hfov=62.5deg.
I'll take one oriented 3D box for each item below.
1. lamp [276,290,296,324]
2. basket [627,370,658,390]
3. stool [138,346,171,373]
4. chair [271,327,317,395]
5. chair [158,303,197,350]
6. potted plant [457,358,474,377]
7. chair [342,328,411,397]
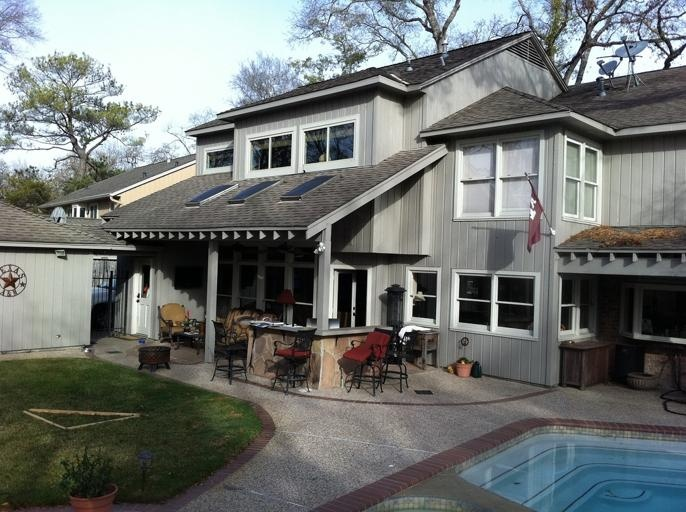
[{"bbox_3d":[-1.679,1.507,16.695,0.460,1.115,1.427,1,4,-5],"label":"lamp"},{"bbox_3d":[7.643,3.220,14.546,0.688,0.333,0.541,-2,5,-43],"label":"basket"},{"bbox_3d":[-4.865,2.653,14.866,0.756,0.512,0.769,-1,-3,26],"label":"stool"},{"bbox_3d":[-1.251,2.446,13.842,0.940,1.491,1.243,0,4,-18],"label":"chair"},{"bbox_3d":[-5.212,2.301,19.074,1.286,1.875,1.558,3,-8,-36],"label":"chair"},{"bbox_3d":[3.277,3.015,15.215,0.437,0.448,0.349,1,4,-10],"label":"potted plant"},{"bbox_3d":[0.864,2.595,14.237,1.565,1.501,1.292,4,-4,-41],"label":"chair"}]
